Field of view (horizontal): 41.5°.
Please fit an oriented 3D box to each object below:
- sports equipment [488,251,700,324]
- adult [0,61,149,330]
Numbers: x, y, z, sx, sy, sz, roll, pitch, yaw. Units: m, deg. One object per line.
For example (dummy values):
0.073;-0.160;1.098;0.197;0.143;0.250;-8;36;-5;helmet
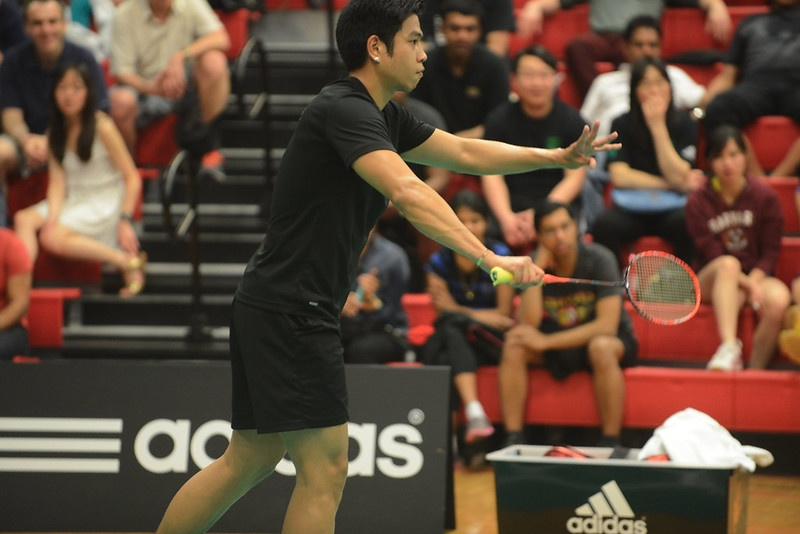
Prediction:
1.095;0.076;5.717;1.145;0.163;0.503;5;49;-17;sports equipment
-2.122;-0.597;7.616;1.133;1.700;1.275;3;9;10;adult
